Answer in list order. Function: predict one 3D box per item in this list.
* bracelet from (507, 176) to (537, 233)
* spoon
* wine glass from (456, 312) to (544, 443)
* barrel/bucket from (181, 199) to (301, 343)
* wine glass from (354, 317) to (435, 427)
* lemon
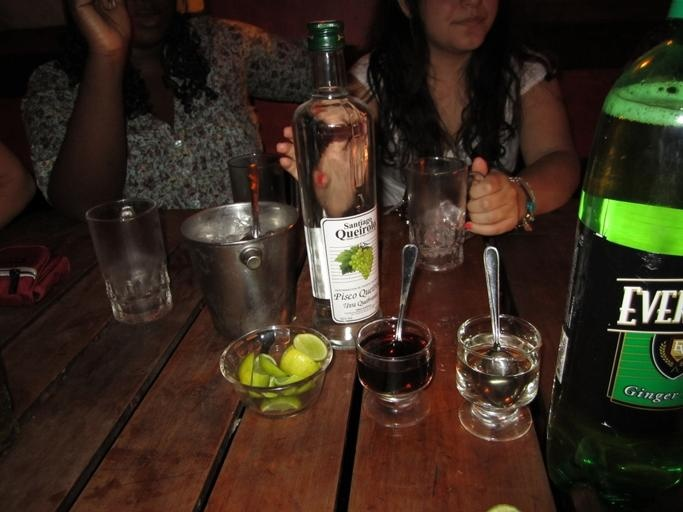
[{"bbox_3d":[0.462,-0.137,1.368,0.108,0.132,0.049,-10,6,-42],"label":"bracelet"},{"bbox_3d":[0.258,0.123,0.860,0.051,0.248,0.034,3,-13,5],"label":"spoon"},{"bbox_3d":[0.242,0.191,0.811,0.119,0.131,0.118,-6,16,-17],"label":"wine glass"},{"bbox_3d":[-0.169,0.026,0.976,0.208,0.186,0.204,-4,22,2],"label":"barrel/bucket"},{"bbox_3d":[0.088,0.182,0.840,0.115,0.123,0.117,9,27,30],"label":"wine glass"},{"bbox_3d":[-0.086,0.183,0.825,0.141,0.067,0.123,-7,31,-3],"label":"lemon"}]
